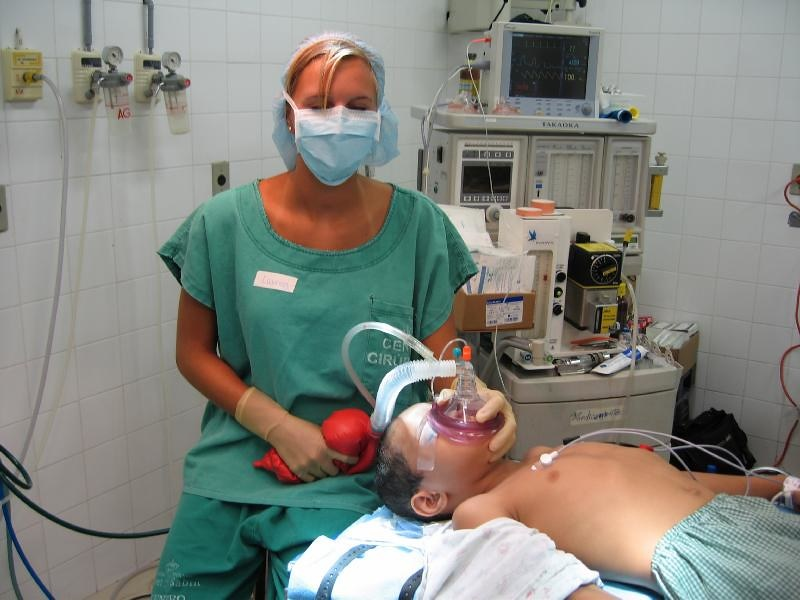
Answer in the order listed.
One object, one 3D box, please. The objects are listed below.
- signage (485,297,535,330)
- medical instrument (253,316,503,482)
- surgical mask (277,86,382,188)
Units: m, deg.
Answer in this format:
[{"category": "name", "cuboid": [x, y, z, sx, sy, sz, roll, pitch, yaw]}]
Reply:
[{"category": "signage", "cuboid": [0.417, 0.045, 2.323, 0.185, 0.146, 0.121, -4, 45, -3]}, {"category": "medical instrument", "cuboid": [-0.033, 0.272, 1.643, 0.579, 0.373, 0.386, 4, 24, 7]}, {"category": "surgical mask", "cuboid": [-0.190, -0.452, 1.717, 0.268, 0.258, 0.142, -1, 14, -8]}]
